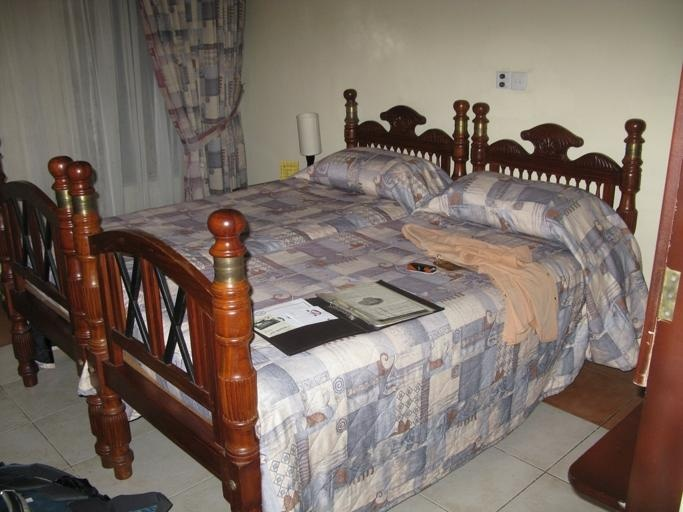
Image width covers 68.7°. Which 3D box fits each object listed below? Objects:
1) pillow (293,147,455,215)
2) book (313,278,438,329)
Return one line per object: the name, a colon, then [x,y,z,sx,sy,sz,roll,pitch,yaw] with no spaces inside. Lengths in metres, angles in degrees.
pillow: [0.129,-0.680,3.615,1.002,0.220,0.588,18,48,30]
book: [0.149,0.190,2.056,0.231,0.026,0.248,-15,24,-35]
